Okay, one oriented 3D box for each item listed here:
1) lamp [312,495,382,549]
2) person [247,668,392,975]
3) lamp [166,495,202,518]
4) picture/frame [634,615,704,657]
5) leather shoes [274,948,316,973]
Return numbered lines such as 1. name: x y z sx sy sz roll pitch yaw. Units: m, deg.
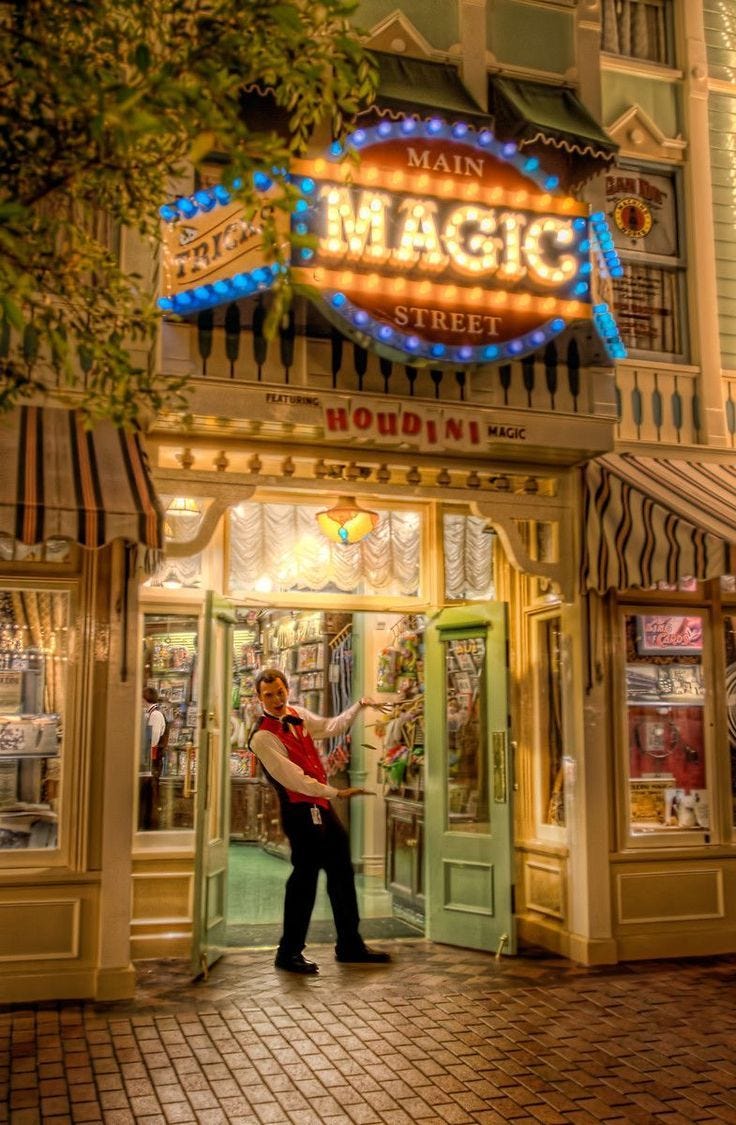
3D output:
1. lamp: -0.155 -0.267 6.768 0.343 0.300 0.339 3 -5 -8
2. person: -0.328 1.572 6.254 0.808 1.811 0.926 -1 -8 0
3. lamp: -1.285 -0.387 6.881 0.111 0.127 0.312 -7 -10 41
4. picture/frame: 2.092 0.503 6.900 0.552 0.271 0.098 3 -9 -30
5. leather shoes: -0.429 2.348 5.905 0.099 0.109 0.270 14 -21 -40
